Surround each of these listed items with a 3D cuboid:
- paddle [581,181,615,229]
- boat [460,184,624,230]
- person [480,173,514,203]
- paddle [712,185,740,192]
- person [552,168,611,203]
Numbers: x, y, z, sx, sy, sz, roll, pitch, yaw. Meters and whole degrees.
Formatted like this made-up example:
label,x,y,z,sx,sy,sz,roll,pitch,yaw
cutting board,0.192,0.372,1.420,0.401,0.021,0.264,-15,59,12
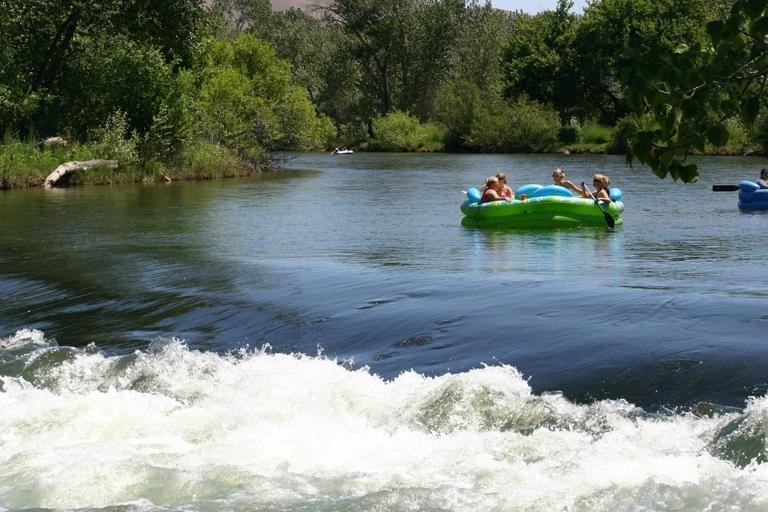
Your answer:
label,x,y,z,sx,sy,sz,roll,pitch,yaw
paddle,5.101,-1.171,21.866,0.206,1.495,0.169,-40,-18,8
boat,3.748,-1.043,21.943,2.380,0.749,1.704,1,-2,6
person,2.895,-1.666,22.613,0.769,0.980,0.678,6,10,42
paddle,11.441,-2.256,30.795,0.787,0.210,1.063,2,6,18
person,5.074,-1.773,22.311,1.514,0.618,1.107,23,1,-6
